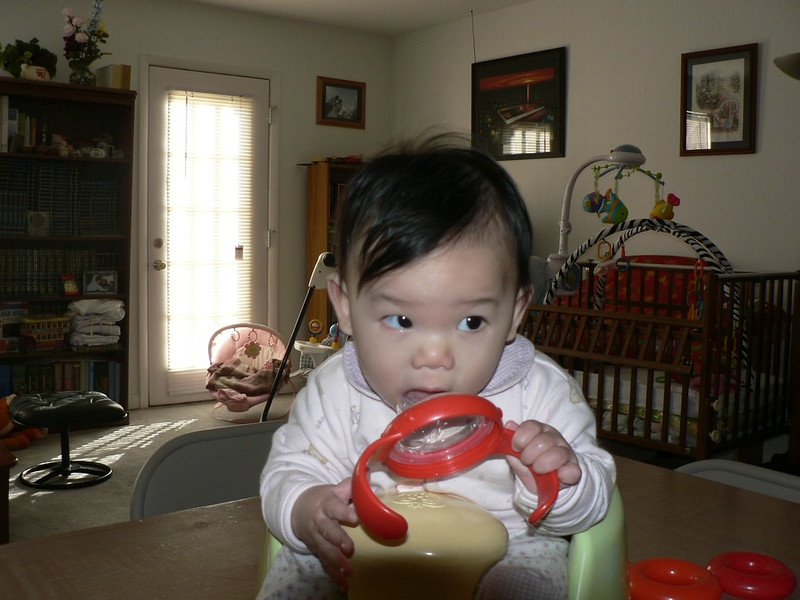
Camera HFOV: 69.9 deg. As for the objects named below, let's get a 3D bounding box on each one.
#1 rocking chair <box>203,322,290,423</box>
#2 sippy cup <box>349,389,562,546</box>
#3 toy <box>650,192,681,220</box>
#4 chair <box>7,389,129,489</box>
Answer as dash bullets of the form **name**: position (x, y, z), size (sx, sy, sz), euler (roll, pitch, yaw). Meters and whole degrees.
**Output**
- **rocking chair**: position (-1.229, 0.594, 4.523), size (0.575, 0.590, 0.658), euler (9, 23, 8)
- **sippy cup**: position (0.047, 0.147, 0.555), size (0.190, 0.126, 0.073), euler (-3, 8, -20)
- **toy**: position (1.669, -0.593, 3.593), size (0.077, 0.234, 0.172), euler (35, -26, -20)
- **chair**: position (-1.921, 0.693, 3.322), size (0.557, 0.490, 0.558), euler (-1, 5, -25)
